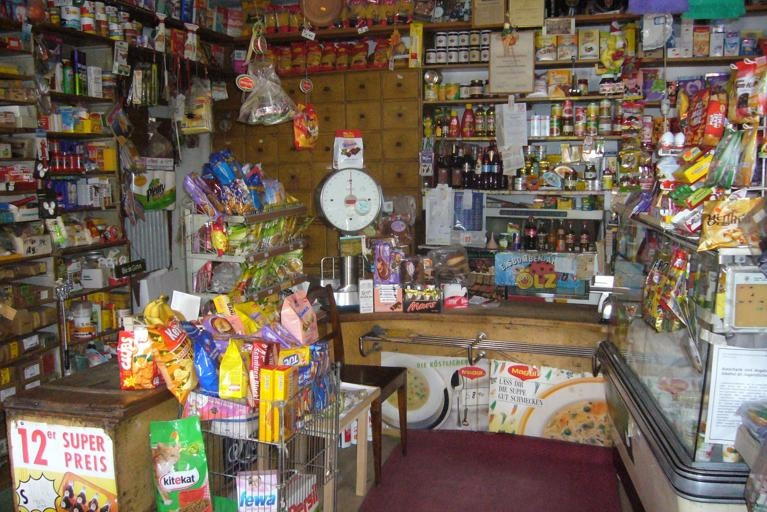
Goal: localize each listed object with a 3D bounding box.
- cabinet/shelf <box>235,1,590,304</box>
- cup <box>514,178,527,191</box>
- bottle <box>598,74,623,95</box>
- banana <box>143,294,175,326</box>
[{"bbox_3d":[0.467,-0.999,5.392,2.953,3.340,0.960,0,-1,8],"label":"cabinet/shelf"},{"bbox_3d":[1.380,-0.722,5.871,0.120,0.133,0.126,-1,6,0],"label":"cup"},{"bbox_3d":[2.184,-1.644,5.592,0.205,0.210,0.196,1,11,9],"label":"bottle"},{"bbox_3d":[-0.938,0.226,2.413,0.114,0.102,0.120,-8,12,-34],"label":"banana"}]
